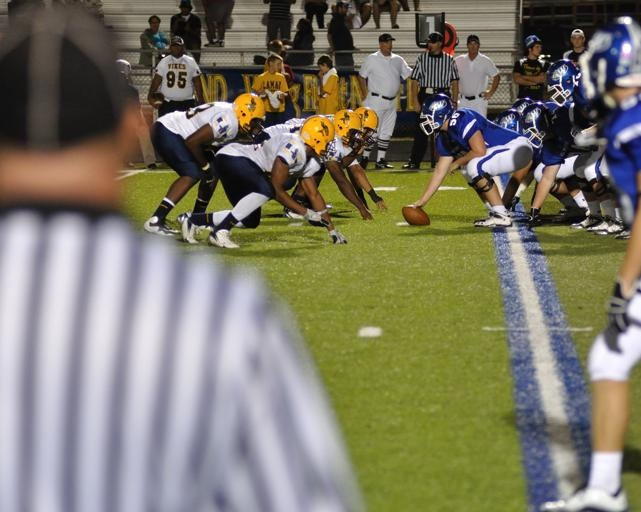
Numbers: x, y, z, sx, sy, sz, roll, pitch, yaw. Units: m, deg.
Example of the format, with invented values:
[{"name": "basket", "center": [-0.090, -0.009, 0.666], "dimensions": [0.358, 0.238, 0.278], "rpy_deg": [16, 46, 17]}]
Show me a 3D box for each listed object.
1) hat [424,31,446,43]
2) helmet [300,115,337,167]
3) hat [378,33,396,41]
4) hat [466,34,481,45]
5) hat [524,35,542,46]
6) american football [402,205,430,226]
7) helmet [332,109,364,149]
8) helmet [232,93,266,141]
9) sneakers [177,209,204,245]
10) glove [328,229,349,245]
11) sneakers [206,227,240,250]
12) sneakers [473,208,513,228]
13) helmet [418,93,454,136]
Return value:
[{"name": "hat", "center": [1.657, -3.107, 11.240], "dimensions": [0.294, 0.152, 0.195], "rpy_deg": [4, 15, -23]}, {"name": "helmet", "center": [-0.022, -0.956, 6.261], "dimensions": [0.371, 0.352, 0.275], "rpy_deg": [-3, 13, -19]}, {"name": "hat", "center": [0.985, -3.337, 11.964], "dimensions": [0.192, 0.132, 0.323], "rpy_deg": [-1, 13, 4]}, {"name": "hat", "center": [2.353, -3.316, 12.097], "dimensions": [0.168, 0.193, 0.358], "rpy_deg": [-1, 13, 6]}, {"name": "hat", "center": [3.211, -3.265, 11.891], "dimensions": [0.176, 0.181, 0.585], "rpy_deg": [0, 13, 13]}, {"name": "american football", "center": [0.874, -0.359, 7.202], "dimensions": [0.236, 0.139, 0.149], "rpy_deg": [31, -23, -18]}, {"name": "helmet", "center": [0.323, -1.206, 7.325], "dimensions": [0.358, 0.337, 0.268], "rpy_deg": [13, 27, 5]}, {"name": "helmet", "center": [-0.648, -1.253, 6.776], "dimensions": [0.360, 0.340, 0.263], "rpy_deg": [-6, 32, -28]}, {"name": "sneakers", "center": [-1.106, -0.207, 6.588], "dimensions": [0.163, 0.339, 0.117], "rpy_deg": [-10, 22, 10]}, {"name": "glove", "center": [0.136, -0.146, 6.429], "dimensions": [0.148, 0.066, 0.098], "rpy_deg": [28, 39, 12]}, {"name": "sneakers", "center": [-0.792, -0.148, 6.373], "dimensions": [0.327, 0.138, 0.111], "rpy_deg": [18, 30, 11]}, {"name": "sneakers", "center": [1.576, -0.346, 7.217], "dimensions": [0.423, 0.193, 0.143], "rpy_deg": [1, 10, 4]}, {"name": "helmet", "center": [1.105, -1.343, 7.416], "dimensions": [0.313, 0.376, 0.352], "rpy_deg": [0, 13, 10]}]
